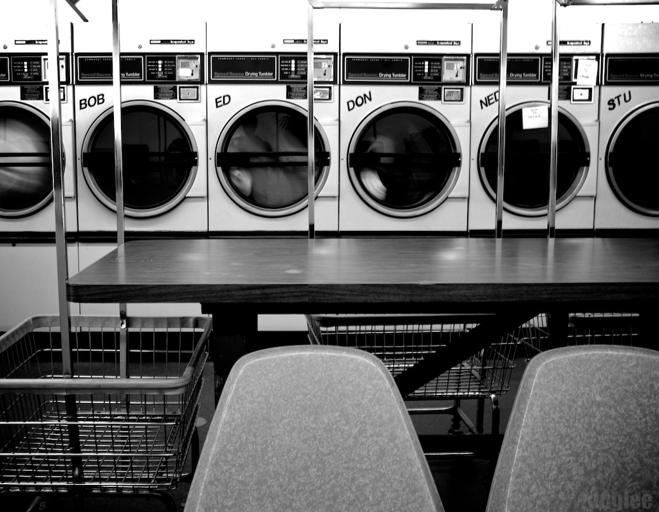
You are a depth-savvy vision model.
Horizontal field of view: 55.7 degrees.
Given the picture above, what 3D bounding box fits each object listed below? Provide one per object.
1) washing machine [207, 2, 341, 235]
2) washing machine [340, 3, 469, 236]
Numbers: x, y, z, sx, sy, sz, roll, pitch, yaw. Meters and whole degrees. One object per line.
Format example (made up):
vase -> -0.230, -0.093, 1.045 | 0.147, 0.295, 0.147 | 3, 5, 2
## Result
washing machine -> -0.323, -0.950, 3.650 | 0.817, 1.102, 1.304 | 0, 71, -6
washing machine -> 0.500, -0.609, 4.334 | 0.894, 0.991, 1.634 | -2, 64, 12
